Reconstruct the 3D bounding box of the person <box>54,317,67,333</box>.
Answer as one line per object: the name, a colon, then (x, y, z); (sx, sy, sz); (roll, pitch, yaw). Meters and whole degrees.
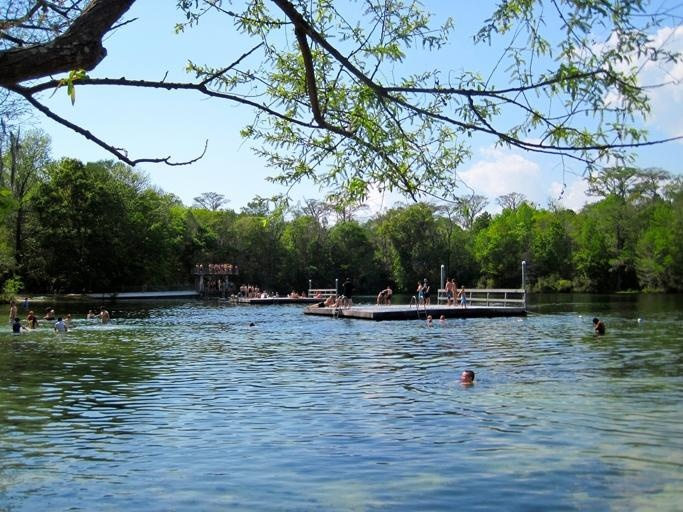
person: (-13.657, 3.327, 34.589); (0.487, 0.637, 1.157); (-2, -1, -20)
